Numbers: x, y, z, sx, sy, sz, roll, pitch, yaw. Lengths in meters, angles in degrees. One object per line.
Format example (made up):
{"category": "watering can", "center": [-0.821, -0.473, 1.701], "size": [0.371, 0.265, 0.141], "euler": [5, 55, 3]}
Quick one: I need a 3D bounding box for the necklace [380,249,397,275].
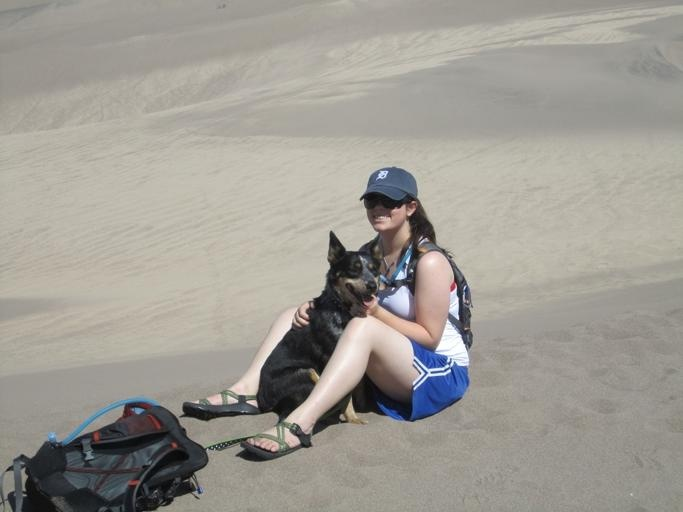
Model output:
{"category": "necklace", "center": [0.665, 0.095, 12.998], "size": [0.204, 0.293, 0.271], "euler": [10, 34, 18]}

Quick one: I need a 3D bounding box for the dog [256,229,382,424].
{"category": "dog", "center": [-0.295, 1.026, 13.078], "size": [1.896, 2.597, 1.153], "euler": [0, 4, 28]}

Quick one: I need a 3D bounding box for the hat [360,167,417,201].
{"category": "hat", "center": [0.685, -1.086, 13.004], "size": [0.717, 0.510, 0.664], "euler": [-2, 18, -7]}

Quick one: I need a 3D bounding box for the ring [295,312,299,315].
{"category": "ring", "center": [-0.636, 0.820, 12.913], "size": [0.036, 0.039, 0.034], "euler": [-2, -5, 0]}
